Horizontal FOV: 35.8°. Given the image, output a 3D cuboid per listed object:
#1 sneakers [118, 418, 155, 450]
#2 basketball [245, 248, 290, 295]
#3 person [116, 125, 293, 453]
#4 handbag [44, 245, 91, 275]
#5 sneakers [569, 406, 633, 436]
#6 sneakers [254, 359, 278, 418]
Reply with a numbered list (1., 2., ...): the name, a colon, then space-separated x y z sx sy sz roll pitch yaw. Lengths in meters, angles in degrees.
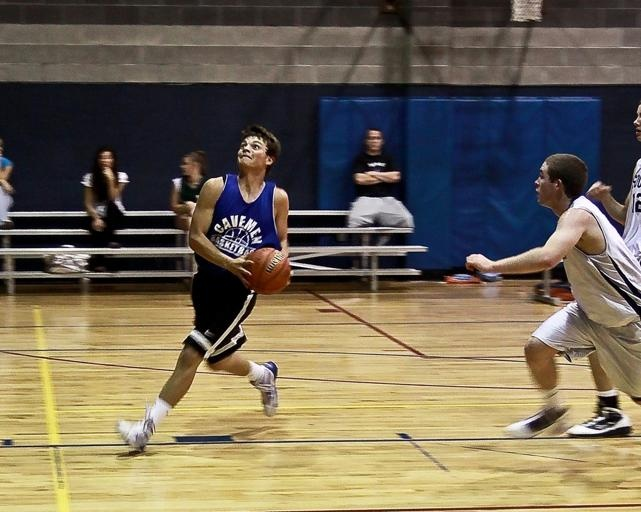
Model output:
1. sneakers: -0.975 0.944 5.262 0.142 0.173 0.233 -7 -21 -32
2. basketball: -0.294 0.079 5.340 0.191 0.191 0.190 -45 1 -23
3. person: -0.534 0.160 5.425 1.065 1.732 0.455 -8 14 -39
4. handbag: -2.558 0.038 10.015 0.437 0.256 0.255 -2 10 -17
5. sneakers: 1.594 0.952 5.639 0.442 0.141 0.136 0 -5 -3
6. sneakers: -0.302 0.776 5.822 0.177 0.299 0.119 -11 9 -15
